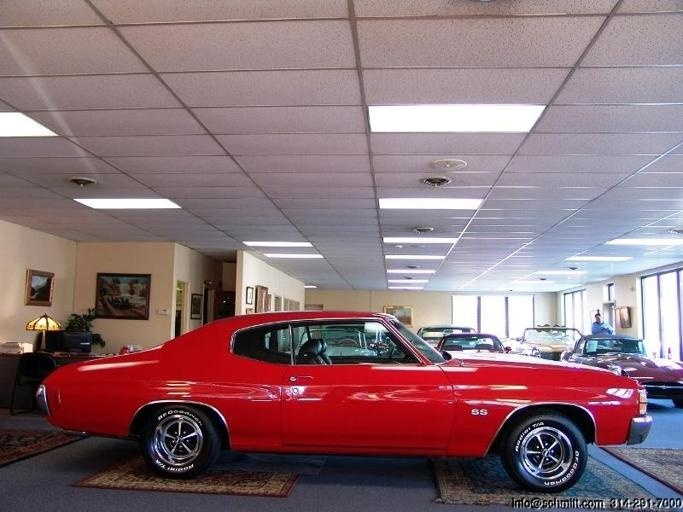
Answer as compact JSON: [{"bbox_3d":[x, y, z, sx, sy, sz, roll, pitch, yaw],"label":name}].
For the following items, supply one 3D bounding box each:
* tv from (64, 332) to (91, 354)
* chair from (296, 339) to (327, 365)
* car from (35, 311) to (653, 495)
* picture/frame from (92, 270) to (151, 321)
[{"bbox_3d":[-4.749,1.538,8.194,0.589,0.302,0.237,1,-7,-10],"label":"tv"},{"bbox_3d":[-0.262,0.855,4.185,0.313,0.196,0.269,-3,-2,23],"label":"chair"},{"bbox_3d":[-0.072,1.222,4.520,6.095,1.031,1.822,0,-2,3],"label":"car"},{"bbox_3d":[-5.230,0.979,10.925,1.947,1.013,0.146,1,-1,2],"label":"picture/frame"}]
